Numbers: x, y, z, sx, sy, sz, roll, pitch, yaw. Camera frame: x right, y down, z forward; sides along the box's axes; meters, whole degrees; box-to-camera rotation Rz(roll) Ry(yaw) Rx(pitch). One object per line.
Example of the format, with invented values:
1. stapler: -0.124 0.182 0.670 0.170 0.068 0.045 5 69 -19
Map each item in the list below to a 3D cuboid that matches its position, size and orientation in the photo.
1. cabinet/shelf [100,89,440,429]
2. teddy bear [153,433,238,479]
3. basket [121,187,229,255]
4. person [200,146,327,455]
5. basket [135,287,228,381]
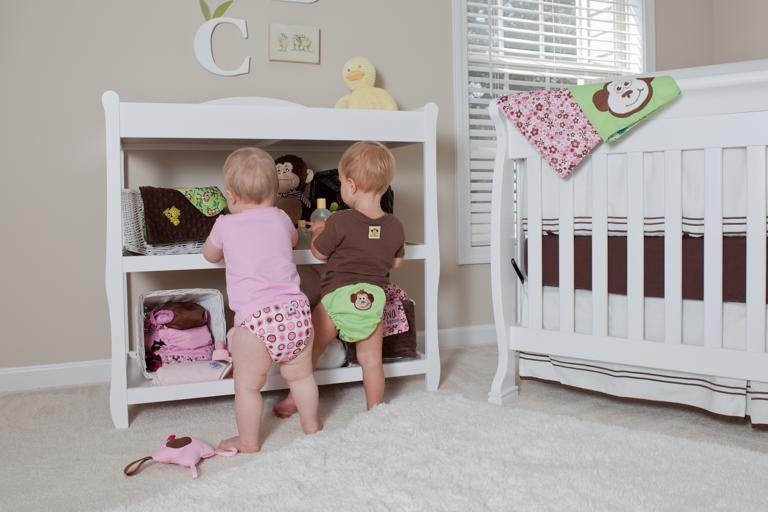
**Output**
1. cabinet/shelf: -0.491 0.034 2.376 1.434 1.314 0.512 -2 2 -27
2. teddy bear: -0.666 0.662 2.019 0.151 0.037 0.151 6 7 28
3. basket: -0.826 -0.147 2.350 0.454 0.286 0.255 -3 -5 -40
4. person: -0.449 0.139 2.151 0.355 1.034 0.330 -4 11 -17
5. basket: -0.836 0.272 2.494 0.353 0.343 0.343 -5 9 -22
